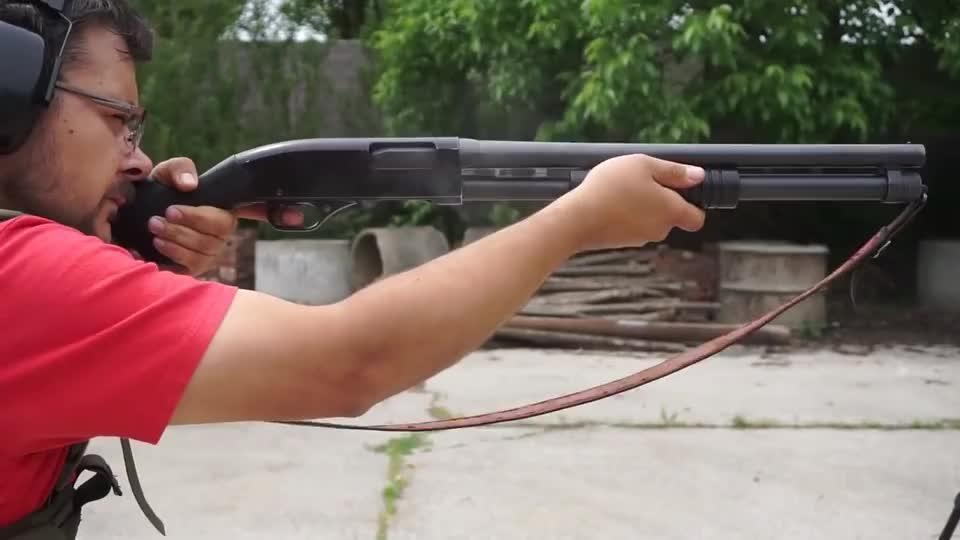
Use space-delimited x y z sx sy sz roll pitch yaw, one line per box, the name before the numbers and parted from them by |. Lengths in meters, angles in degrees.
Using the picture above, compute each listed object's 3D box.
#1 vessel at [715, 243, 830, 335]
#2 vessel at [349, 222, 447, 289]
vessel | 3.382 0.217 14.388 1.133 1.109 1.085 0 -4 0
vessel | -0.902 -0.148 12.861 0.426 0.417 0.760 -31 -20 36
